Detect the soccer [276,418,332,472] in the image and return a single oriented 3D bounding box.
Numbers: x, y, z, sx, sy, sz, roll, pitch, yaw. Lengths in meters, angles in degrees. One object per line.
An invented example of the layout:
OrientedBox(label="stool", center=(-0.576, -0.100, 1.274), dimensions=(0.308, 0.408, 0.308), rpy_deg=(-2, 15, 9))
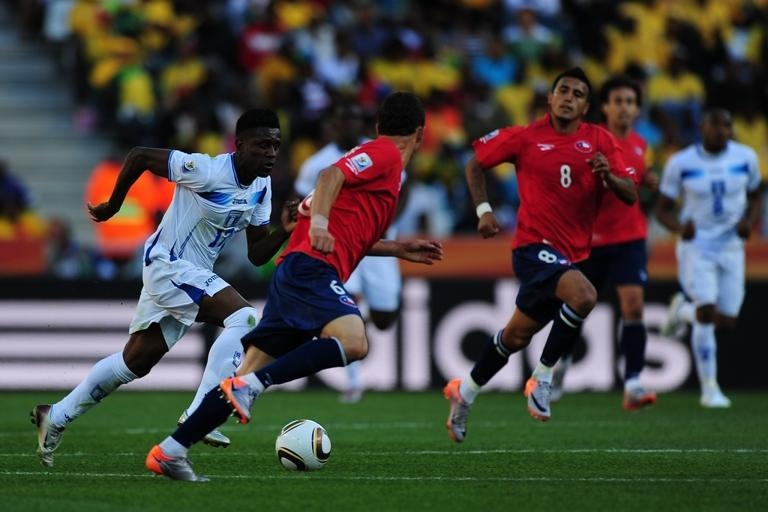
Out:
OrientedBox(label="soccer", center=(-0.649, 1.539, 8.824), dimensions=(0.418, 0.404, 0.404), rpy_deg=(1, -8, -11))

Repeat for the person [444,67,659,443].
OrientedBox(label="person", center=(1.364, -0.003, 9.536), dimensions=(1.432, 3.343, 0.678), rpy_deg=(5, 5, 6))

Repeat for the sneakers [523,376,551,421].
OrientedBox(label="sneakers", center=(1.322, 1.264, 9.546), dimensions=(0.216, 0.387, 0.207), rpy_deg=(5, 5, 6))

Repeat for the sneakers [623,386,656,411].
OrientedBox(label="sneakers", center=(2.380, 1.370, 10.382), dimensions=(0.302, 0.284, 0.183), rpy_deg=(-10, -4, 1))

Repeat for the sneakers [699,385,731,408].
OrientedBox(label="sneakers", center=(3.335, 1.450, 11.102), dimensions=(0.296, 0.187, 0.201), rpy_deg=(-1, 6, 4))

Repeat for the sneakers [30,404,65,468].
OrientedBox(label="sneakers", center=(-2.762, 1.454, 9.029), dimensions=(0.299, 0.588, 0.200), rpy_deg=(0, 6, 13))

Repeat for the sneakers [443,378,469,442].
OrientedBox(label="sneakers", center=(0.612, 1.371, 9.577), dimensions=(0.255, 0.548, 0.204), rpy_deg=(-11, -7, 29))
